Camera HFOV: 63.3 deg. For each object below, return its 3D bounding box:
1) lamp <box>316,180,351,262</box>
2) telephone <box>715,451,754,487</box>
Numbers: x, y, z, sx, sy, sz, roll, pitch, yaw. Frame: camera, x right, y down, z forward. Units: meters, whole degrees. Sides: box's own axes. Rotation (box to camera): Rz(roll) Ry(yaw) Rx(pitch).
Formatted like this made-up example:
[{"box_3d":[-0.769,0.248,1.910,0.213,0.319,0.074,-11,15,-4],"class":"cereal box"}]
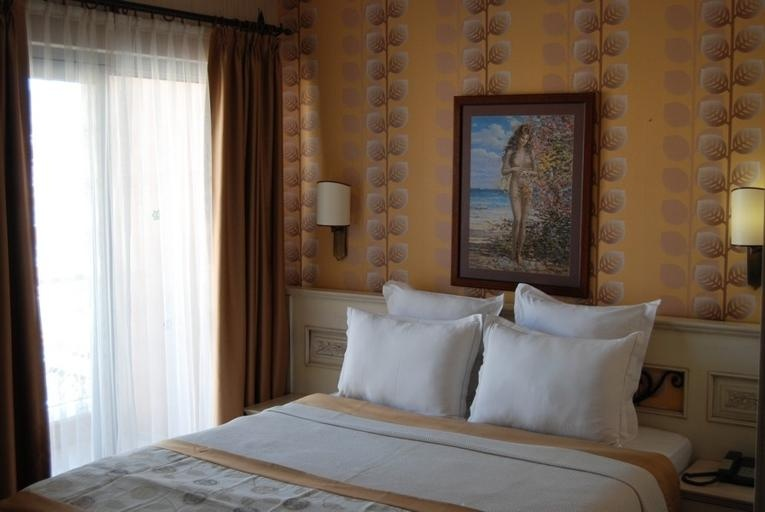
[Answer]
[{"box_3d":[-0.355,-0.256,4.614,0.257,0.612,0.203,-2,11,-4],"class":"lamp"},{"box_3d":[1.954,1.188,3.422,0.165,0.054,0.162,-25,22,-40],"class":"telephone"}]
